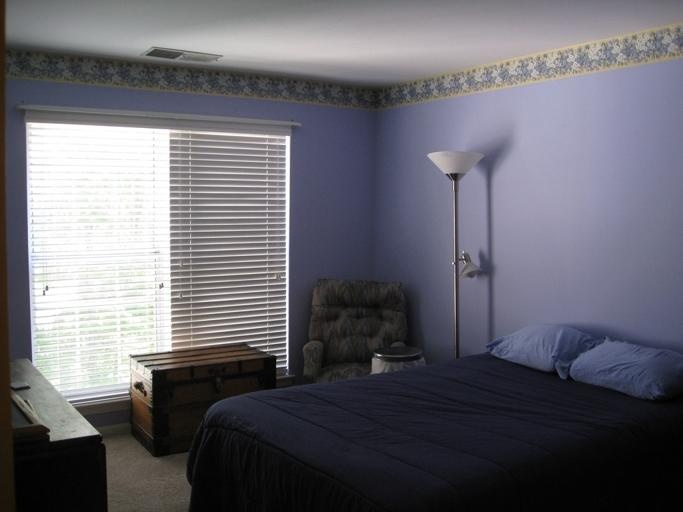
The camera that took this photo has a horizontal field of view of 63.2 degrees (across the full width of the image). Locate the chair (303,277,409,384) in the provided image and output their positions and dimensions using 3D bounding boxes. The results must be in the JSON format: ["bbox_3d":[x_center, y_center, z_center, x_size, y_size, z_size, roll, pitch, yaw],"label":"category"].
[{"bbox_3d":[0.105,0.682,5.216,0.968,1.015,0.828,3,5,9],"label":"chair"}]

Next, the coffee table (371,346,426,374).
[{"bbox_3d":[0.404,0.766,4.119,0.253,0.174,0.254,-1,1,-22],"label":"coffee table"}]

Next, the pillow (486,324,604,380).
[{"bbox_3d":[1.401,0.581,3.753,0.421,0.128,0.390,-12,9,-43],"label":"pillow"}]

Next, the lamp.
[{"bbox_3d":[0.911,0.001,4.536,0.421,1.701,0.584,3,10,13],"label":"lamp"}]
